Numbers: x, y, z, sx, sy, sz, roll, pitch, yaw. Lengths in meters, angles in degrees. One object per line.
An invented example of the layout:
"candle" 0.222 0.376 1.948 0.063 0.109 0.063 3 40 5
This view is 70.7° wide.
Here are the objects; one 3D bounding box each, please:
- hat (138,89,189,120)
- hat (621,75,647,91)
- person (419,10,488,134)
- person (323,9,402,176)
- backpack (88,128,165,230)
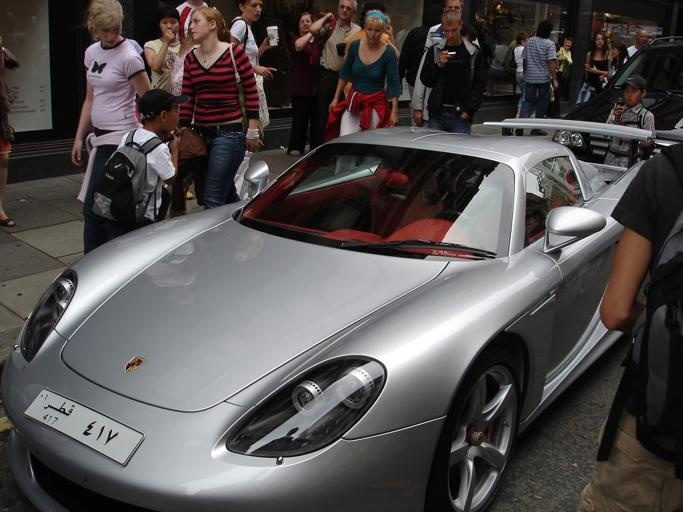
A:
"hat" -1.382 -1.197 3.820 0.356 0.155 0.230 -25 33 -21
"hat" 4.175 -2.496 6.865 0.316 0.179 0.219 19 2 -40
"person" 1.587 -2.293 7.245 0.939 2.612 0.606 9 37 19
"person" 0.332 -2.200 7.244 0.891 2.892 0.702 3 48 0
"backpack" -1.623 -0.599 3.698 0.411 0.695 0.367 25 23 17
